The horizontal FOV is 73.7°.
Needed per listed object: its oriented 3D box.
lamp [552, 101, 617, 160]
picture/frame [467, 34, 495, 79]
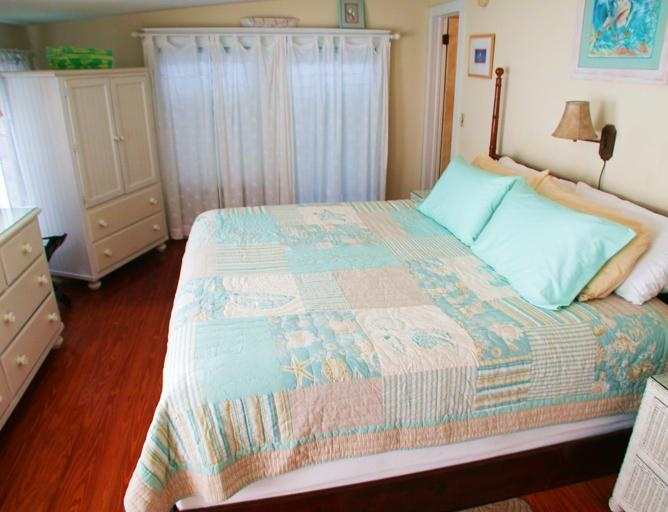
[{"bbox_3d":[1.481,-0.706,2.663,0.327,0.378,0.224,5,17,7],"label":"lamp"},{"bbox_3d":[1.234,-1.686,3.779,0.019,0.335,0.321,-14,28,-17],"label":"picture/frame"}]
